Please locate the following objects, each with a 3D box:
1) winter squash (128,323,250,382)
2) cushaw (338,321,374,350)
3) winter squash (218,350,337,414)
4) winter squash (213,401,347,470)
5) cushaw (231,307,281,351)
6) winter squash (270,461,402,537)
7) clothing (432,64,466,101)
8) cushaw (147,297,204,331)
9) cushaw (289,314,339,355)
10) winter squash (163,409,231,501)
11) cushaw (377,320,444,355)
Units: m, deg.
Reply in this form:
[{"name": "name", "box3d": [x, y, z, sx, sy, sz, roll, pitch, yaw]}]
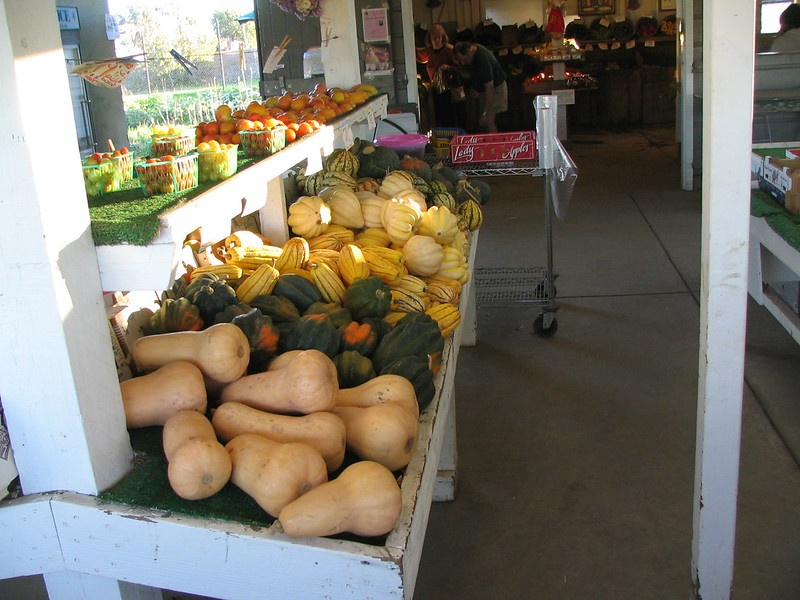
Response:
[{"name": "winter squash", "box3d": [-0.603, 0.148, 1.698, 0.318, 0.150, 0.160, -2, 1, 3]}, {"name": "cushaw", "box3d": [-0.139, 0.116, 1.936, 0.091, 0.108, 0.082, 20, -14, -7]}, {"name": "winter squash", "box3d": [-0.330, 0.239, 1.656, 0.359, 0.165, 0.174, -11, 13, 23]}, {"name": "winter squash", "box3d": [-0.300, 0.321, 1.586, 0.340, 0.152, 0.145, 12, 3, 14]}, {"name": "cushaw", "box3d": [-0.412, 0.085, 1.749, 0.080, 0.120, 0.128, -26, -37, 29]}, {"name": "winter squash", "box3d": [-0.144, 0.469, 1.371, 0.284, 0.113, 0.138, -7, 19, -9]}, {"name": "clothing", "box3d": [0.833, -3.695, 10.077, 0.328, 0.523, 0.656, -29, 51, -7]}, {"name": "cushaw", "box3d": [-0.684, 0.049, 1.850, 0.112, 0.109, 0.115, -11, 12, 11]}, {"name": "cushaw", "box3d": [-0.262, 0.095, 1.862, 0.125, 0.127, 0.128, 12, 4, 20]}, {"name": "winter squash", "box3d": [-0.500, 0.371, 1.464, 0.138, 0.148, 0.220, -13, 21, -25]}, {"name": "cushaw", "box3d": [0.031, 0.129, 1.940, 0.221, 0.108, 0.139, -5, 19, -4]}]
